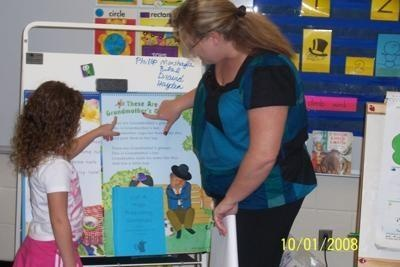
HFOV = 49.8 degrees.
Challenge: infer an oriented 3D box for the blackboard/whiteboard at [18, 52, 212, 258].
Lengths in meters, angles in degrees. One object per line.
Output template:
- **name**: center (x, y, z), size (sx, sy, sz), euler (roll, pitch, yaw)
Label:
- **blackboard/whiteboard**: center (-0.546, 0.156, 2.584), size (1.320, 1.330, 0.131), euler (-1, -3, -11)
